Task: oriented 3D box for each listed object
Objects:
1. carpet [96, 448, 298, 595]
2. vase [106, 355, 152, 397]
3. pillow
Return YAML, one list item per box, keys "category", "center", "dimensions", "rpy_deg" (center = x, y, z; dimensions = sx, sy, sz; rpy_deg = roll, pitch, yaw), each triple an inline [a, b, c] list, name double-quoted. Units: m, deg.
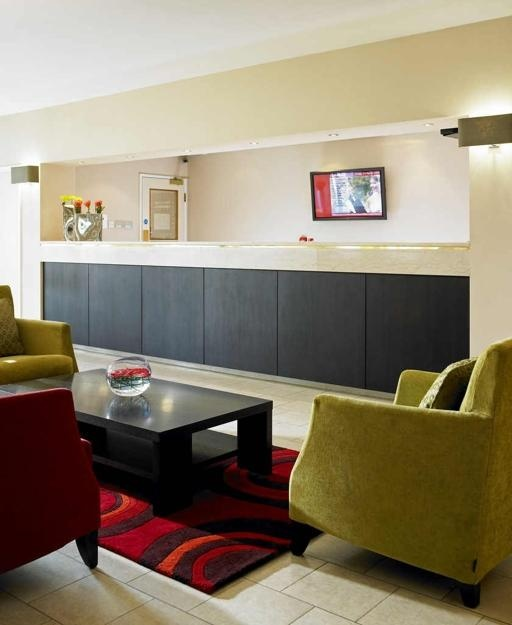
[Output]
- category: "carpet"
  center: [-0.264, 0.838, 2.095]
  dimensions: [0.800, 0.053, 1.189]
  rpy_deg: [0, -2, 3]
- category: "vase"
  center: [-0.656, 0.326, 2.668]
  dimensions: [0.212, 0.170, 0.209]
  rpy_deg: [0, 0, 15]
- category: "pillow"
  center: [0.577, 0.216, 1.593]
  dimensions: [0.066, 0.171, 0.169]
  rpy_deg: [18, 4, 43]
